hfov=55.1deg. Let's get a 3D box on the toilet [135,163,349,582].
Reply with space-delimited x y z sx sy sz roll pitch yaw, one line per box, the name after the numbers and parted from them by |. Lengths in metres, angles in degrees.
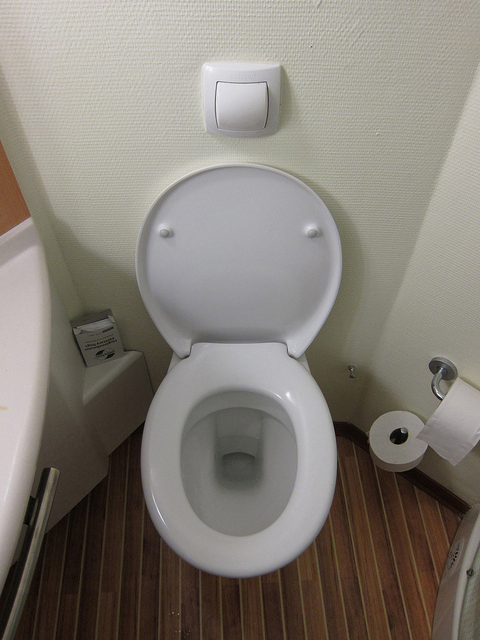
0.002 0.223 0.921 0.282 0.794 0.515 2 52 0 | toilet
